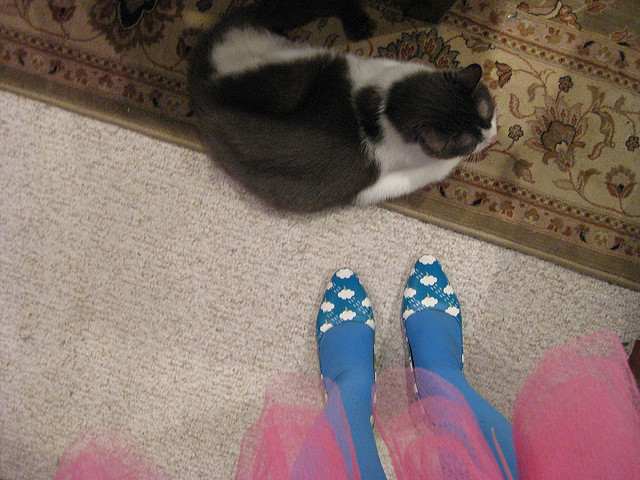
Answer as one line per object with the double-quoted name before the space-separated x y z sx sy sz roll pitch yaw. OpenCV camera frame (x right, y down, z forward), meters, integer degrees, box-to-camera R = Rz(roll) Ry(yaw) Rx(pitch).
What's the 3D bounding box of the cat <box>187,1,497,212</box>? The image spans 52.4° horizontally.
"cat" 0.063 -0.426 2.075 0.959 0.633 0.354 14 -30 5
